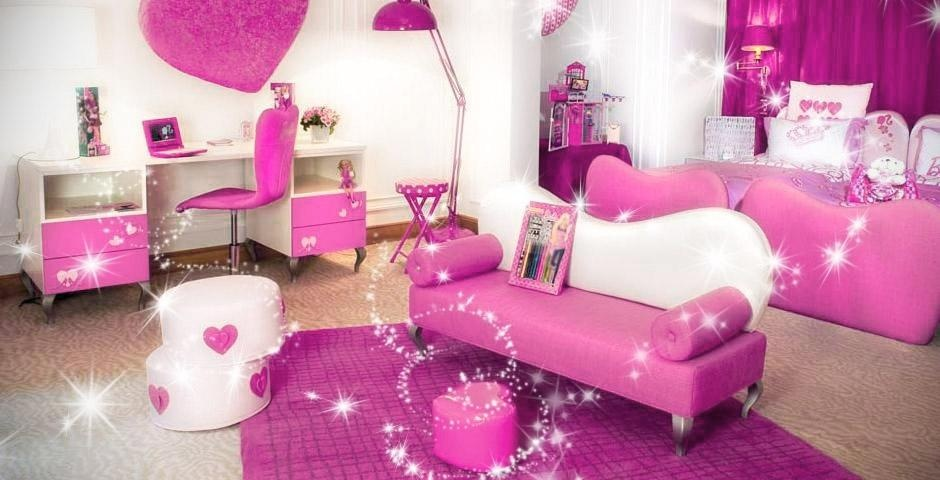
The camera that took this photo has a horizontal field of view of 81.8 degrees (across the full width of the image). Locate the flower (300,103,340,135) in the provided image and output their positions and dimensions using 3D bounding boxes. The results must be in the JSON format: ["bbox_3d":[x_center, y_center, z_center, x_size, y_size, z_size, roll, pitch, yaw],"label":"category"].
[{"bbox_3d":[-1.608,-1.297,5.829,0.329,0.211,0.324,2,9,15],"label":"flower"}]

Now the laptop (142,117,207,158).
[{"bbox_3d":[-2.815,-0.990,5.194,0.574,0.384,0.408,14,19,39],"label":"laptop"}]

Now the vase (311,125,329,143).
[{"bbox_3d":[-1.597,-1.126,5.774,0.181,0.111,0.171,-8,13,-35],"label":"vase"}]

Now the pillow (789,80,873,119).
[{"bbox_3d":[4.336,-1.668,6.483,0.568,0.403,0.198,5,2,36],"label":"pillow"}]

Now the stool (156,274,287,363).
[{"bbox_3d":[-1.768,0.542,3.881,0.660,0.335,0.650,-12,21,-35],"label":"stool"}]

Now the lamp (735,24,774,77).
[{"bbox_3d":[3.674,-2.441,6.993,0.454,0.600,0.350,4,17,24],"label":"lamp"}]

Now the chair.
[{"bbox_3d":[-2.079,-0.488,5.236,0.900,1.530,0.449,-1,16,7],"label":"chair"}]

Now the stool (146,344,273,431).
[{"bbox_3d":[-1.854,1.079,3.831,0.677,0.339,0.682,5,9,35],"label":"stool"}]

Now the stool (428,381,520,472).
[{"bbox_3d":[0.035,1.196,3.563,0.563,0.344,0.530,6,9,30],"label":"stool"}]
